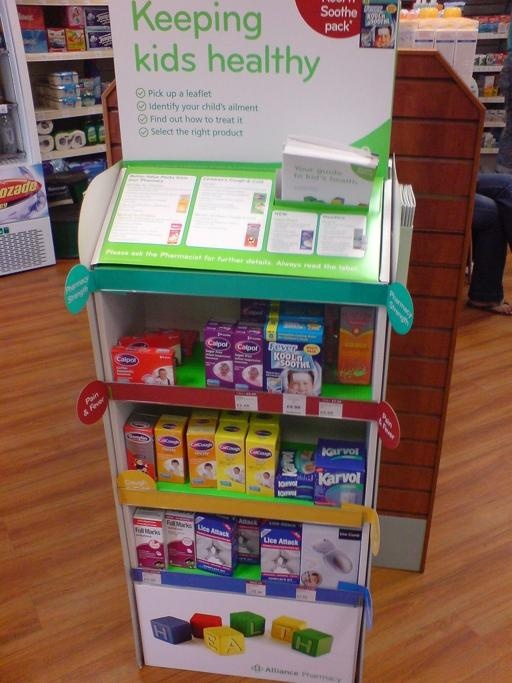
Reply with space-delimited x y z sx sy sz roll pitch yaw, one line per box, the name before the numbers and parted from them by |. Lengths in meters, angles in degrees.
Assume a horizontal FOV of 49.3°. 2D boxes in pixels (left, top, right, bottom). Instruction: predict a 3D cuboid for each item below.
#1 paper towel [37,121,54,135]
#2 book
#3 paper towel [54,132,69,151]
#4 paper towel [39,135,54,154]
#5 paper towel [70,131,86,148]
paper towel | -2.118 -2.152 5.602 0.148 0.123 0.122 -13 35 -18
book | 0.174 -0.397 1.306 0.229 0.214 0.079 8 58 1
paper towel | -1.996 -2.058 5.700 0.099 0.169 0.181 16 19 37
paper towel | -2.103 -1.996 5.627 0.157 0.163 0.069 -21 37 -28
paper towel | -1.868 -2.117 5.816 0.175 0.245 0.133 5 65 -16
